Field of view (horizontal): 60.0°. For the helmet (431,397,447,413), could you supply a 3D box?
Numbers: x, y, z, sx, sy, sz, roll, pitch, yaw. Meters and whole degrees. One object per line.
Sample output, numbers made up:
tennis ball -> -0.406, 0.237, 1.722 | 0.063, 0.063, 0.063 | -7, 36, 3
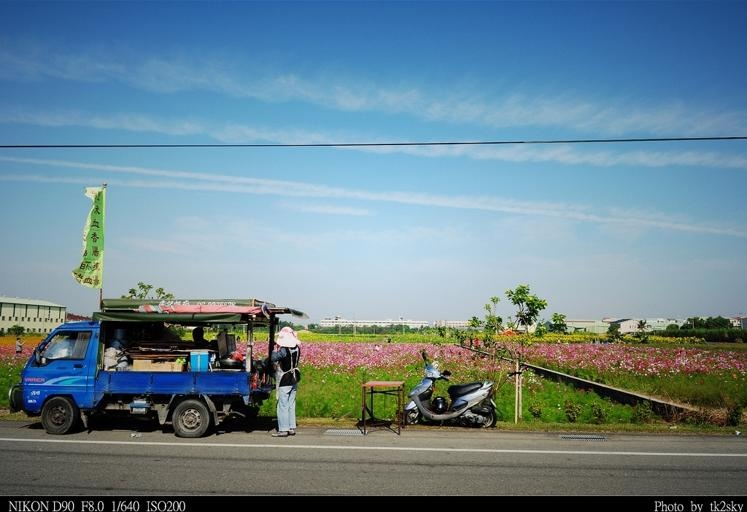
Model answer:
helmet -> 1.843, 4.234, 18.287 | 0.385, 0.407, 0.410 | 2, -3, 5

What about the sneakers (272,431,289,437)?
sneakers -> -2.516, 4.726, 17.093 | 0.466, 0.178, 0.179 | 6, -9, 5

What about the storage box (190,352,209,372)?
storage box -> -4.689, 2.845, 17.389 | 0.517, 0.465, 0.497 | 1, 1, 2
